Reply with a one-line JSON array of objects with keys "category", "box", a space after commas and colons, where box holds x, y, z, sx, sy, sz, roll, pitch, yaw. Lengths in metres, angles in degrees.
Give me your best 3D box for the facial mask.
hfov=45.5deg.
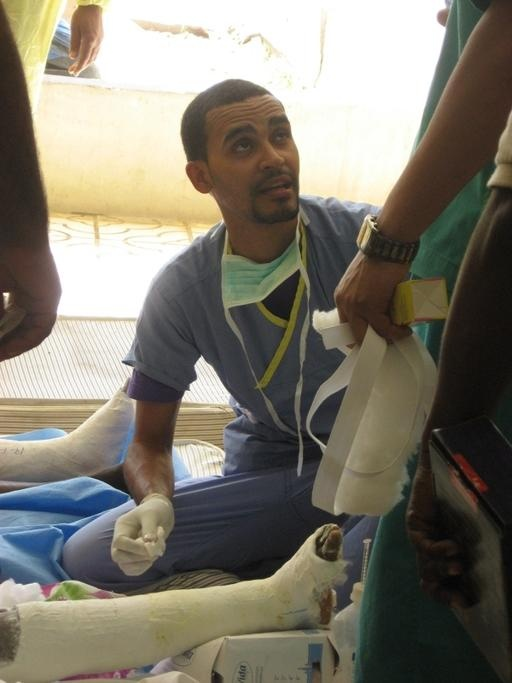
[{"category": "facial mask", "box": [0.004, -0.129, 1.186, 0.149, 0.140, 0.088, 9, 30, -5]}]
